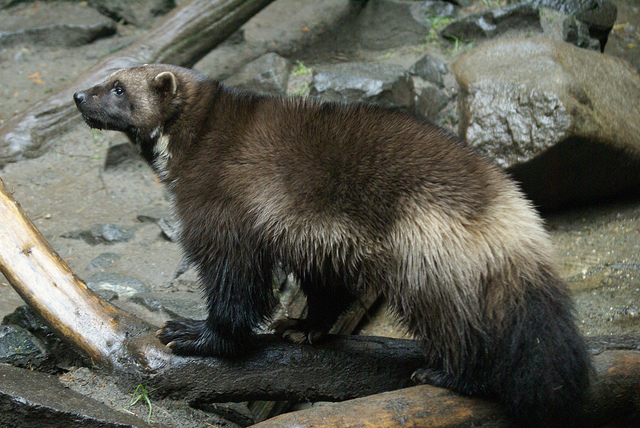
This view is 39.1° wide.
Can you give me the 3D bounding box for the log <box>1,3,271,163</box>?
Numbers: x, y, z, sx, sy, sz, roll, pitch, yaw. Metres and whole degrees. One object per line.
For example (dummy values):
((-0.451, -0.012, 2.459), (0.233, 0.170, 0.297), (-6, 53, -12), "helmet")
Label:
((-2.336, -1.599, 11.315), (4.862, 0.509, 0.508), (-28, 41, -2), "log")
